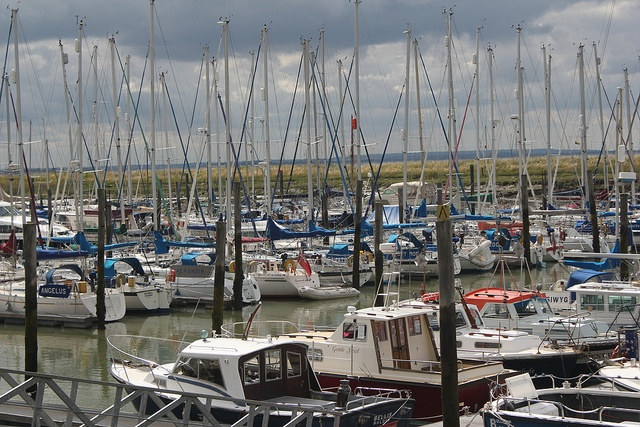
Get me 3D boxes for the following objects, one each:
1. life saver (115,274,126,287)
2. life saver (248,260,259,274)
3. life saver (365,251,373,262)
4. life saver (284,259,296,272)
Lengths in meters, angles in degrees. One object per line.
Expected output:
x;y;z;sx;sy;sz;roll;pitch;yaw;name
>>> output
-10.295;3.397;65.941;0.435;0.441;0.685;-2;1;2;life saver
-3.549;2.759;68.632;0.656;0.630;0.490;9;8;44;life saver
2.791;2.378;71.861;0.456;0.695;0.462;1;0;-2;life saver
-1.617;2.754;68.770;0.669;0.670;0.404;-2;1;-5;life saver
